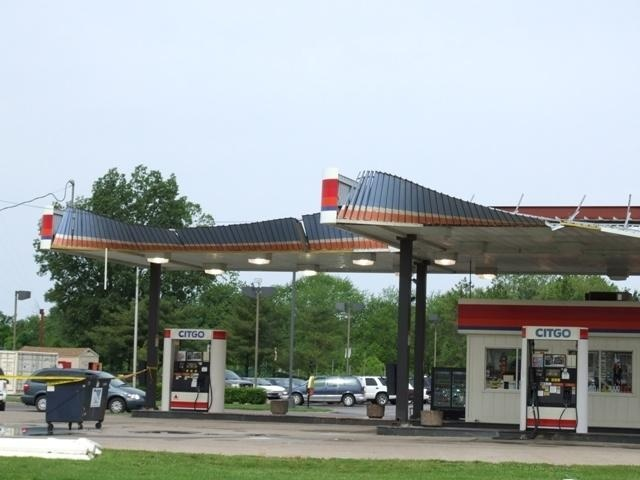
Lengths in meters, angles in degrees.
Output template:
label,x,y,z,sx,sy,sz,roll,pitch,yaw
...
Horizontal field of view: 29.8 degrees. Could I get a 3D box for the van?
label,x,y,z,sx,sy,sz,roll,pitch,yaw
van,-8.648,5.741,44.761,5.269,2.102,2.310,0,-7,-4

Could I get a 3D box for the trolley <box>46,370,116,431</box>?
label,x,y,z,sx,sy,sz,roll,pitch,yaw
trolley,-7.212,4.824,36.250,1.555,1.599,1.964,-1,-6,8

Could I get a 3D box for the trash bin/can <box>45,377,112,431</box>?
label,x,y,z,sx,sy,sz,roll,pitch,yaw
trash bin/can,-7.199,4.759,36.002,0.851,1.371,1.868,-9,-14,41
